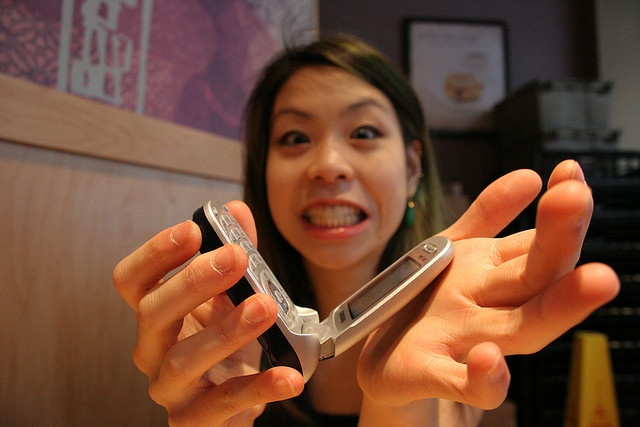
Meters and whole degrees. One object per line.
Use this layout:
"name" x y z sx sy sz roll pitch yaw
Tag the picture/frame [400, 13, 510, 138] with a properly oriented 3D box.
"picture/frame" 0.291 -0.300 1.159 0.229 0.249 0.024 1 10 1
